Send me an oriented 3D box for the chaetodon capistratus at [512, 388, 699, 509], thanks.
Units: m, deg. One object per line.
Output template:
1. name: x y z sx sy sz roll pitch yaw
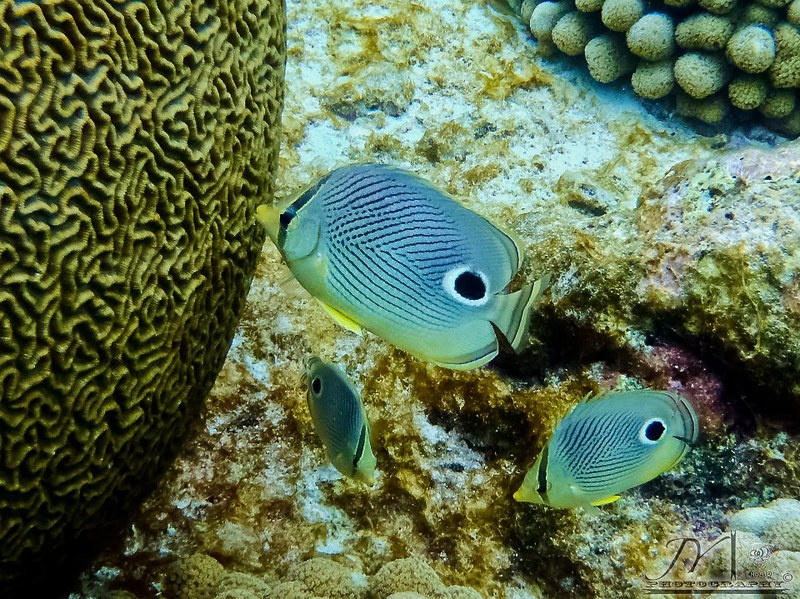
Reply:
1. chaetodon capistratus: 1.119 0.813 4.722 0.630 0.446 0.226 -24 36 10
